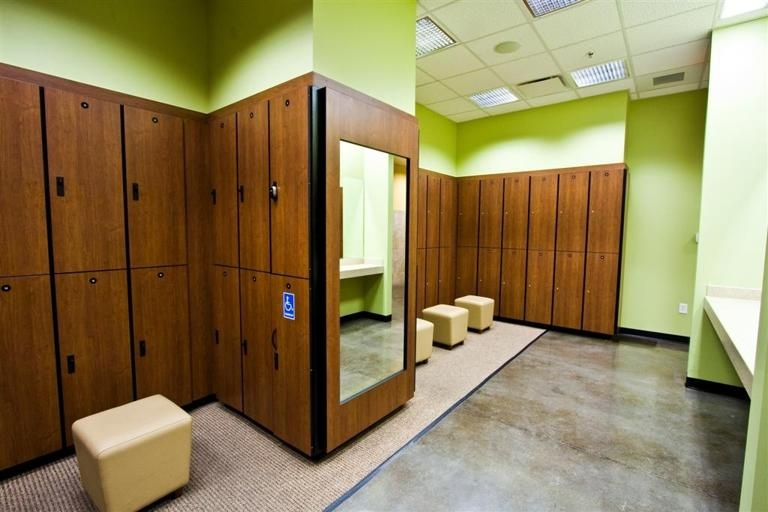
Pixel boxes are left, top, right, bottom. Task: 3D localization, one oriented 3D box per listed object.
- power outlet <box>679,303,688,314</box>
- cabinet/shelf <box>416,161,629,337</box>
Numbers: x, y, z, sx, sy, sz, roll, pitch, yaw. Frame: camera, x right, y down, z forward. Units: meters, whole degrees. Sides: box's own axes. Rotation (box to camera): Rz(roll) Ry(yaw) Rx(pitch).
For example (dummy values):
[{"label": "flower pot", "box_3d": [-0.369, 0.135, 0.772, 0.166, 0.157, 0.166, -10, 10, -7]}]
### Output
[{"label": "power outlet", "box_3d": [4.712, 0.811, 7.983, 0.141, 0.191, 0.019, 8, 11, 43]}, {"label": "cabinet/shelf", "box_3d": [2.386, -0.093, 8.426, 2.810, 2.212, 0.986, 4, 7, 36]}]
